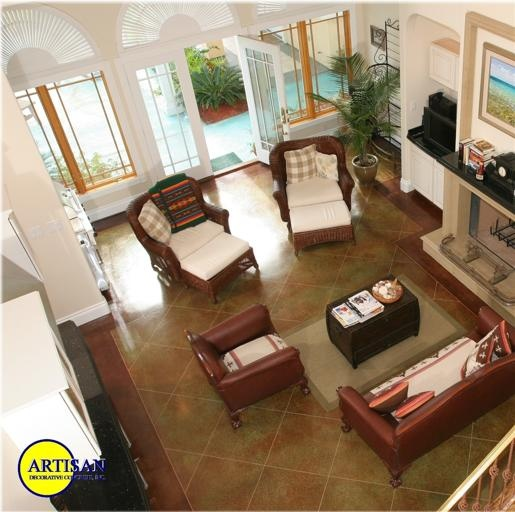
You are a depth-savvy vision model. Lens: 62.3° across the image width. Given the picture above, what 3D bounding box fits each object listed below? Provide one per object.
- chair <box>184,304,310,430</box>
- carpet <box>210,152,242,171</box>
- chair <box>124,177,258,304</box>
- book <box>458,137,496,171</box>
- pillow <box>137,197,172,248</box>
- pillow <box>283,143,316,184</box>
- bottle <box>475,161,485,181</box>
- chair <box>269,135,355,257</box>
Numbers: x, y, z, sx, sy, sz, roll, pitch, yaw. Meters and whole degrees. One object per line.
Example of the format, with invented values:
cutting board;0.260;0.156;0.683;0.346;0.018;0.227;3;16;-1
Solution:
chair;-0.050;1.023;4.205;0.946;1.047;0.768;-21;29;-9
carpet;-0.625;-1.922;8.614;0.610;0.123;0.918;-14;27;-1
chair;-0.888;-0.294;5.761;1.212;1.005;1.502;-35;54;-28
book;2.291;-1.073;4.456;0.376;0.112;0.270;-22;38;-30
pillow;-1.336;-0.426;5.625;0.180;0.537;0.566;-25;33;20
pillow;0.643;-1.383;6.308;0.590;0.495;0.194;-12;27;-9
bottle;2.310;-0.886;4.407;0.092;0.193;0.075;-8;30;15
chair;0.782;-0.941;6.158;1.233;0.972;1.442;-1;47;9
